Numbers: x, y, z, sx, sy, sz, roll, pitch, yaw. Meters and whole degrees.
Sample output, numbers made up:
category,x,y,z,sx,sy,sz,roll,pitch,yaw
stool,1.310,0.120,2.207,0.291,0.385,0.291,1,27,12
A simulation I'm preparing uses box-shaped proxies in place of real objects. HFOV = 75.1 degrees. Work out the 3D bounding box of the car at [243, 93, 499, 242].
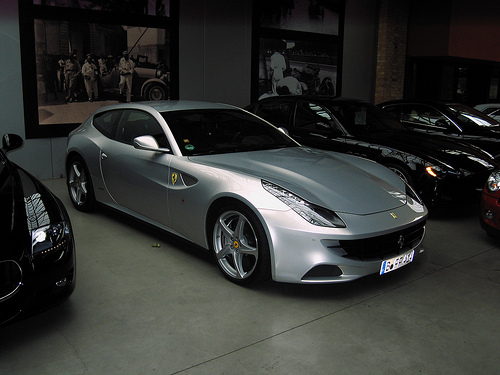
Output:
category,x,y,z,sx,sy,sz,roll,pitch,yaw
car,2.047,-0.841,6.665,4.722,1.516,2.163,15,17,36

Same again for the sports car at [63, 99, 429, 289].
category,x,y,z,sx,sy,sz,roll,pitch,yaw
sports car,-0.587,-0.252,4.705,5.596,1.889,2.072,10,16,35
